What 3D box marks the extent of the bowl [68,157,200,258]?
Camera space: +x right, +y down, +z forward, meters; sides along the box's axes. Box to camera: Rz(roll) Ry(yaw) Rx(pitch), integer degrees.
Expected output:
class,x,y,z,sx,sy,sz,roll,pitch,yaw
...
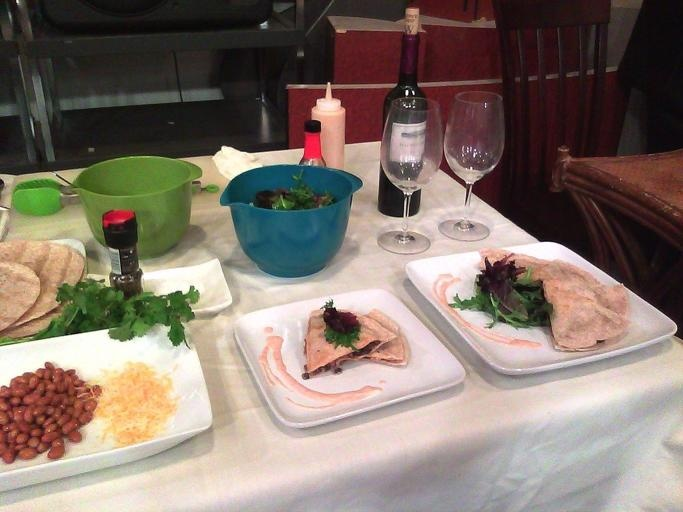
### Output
class,x,y,z,sx,sy,sz,roll,pitch,yaw
bowl,-0.391,-0.117,0.928,0.236,0.162,0.210,6,32,-3

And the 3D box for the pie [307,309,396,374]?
class,x,y,z,sx,sy,sz,roll,pitch,yaw
pie,0.010,0.123,0.709,0.098,0.028,0.103,-11,37,0

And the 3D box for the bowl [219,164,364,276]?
class,x,y,z,sx,sy,sz,roll,pitch,yaw
bowl,-0.096,-0.053,0.937,0.242,0.153,0.217,-6,38,-12

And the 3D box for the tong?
class,x,y,z,sx,sy,sz,roll,pitch,yaw
tong,-0.586,-0.123,1.091,0.262,0.059,0.073,1,38,-17
